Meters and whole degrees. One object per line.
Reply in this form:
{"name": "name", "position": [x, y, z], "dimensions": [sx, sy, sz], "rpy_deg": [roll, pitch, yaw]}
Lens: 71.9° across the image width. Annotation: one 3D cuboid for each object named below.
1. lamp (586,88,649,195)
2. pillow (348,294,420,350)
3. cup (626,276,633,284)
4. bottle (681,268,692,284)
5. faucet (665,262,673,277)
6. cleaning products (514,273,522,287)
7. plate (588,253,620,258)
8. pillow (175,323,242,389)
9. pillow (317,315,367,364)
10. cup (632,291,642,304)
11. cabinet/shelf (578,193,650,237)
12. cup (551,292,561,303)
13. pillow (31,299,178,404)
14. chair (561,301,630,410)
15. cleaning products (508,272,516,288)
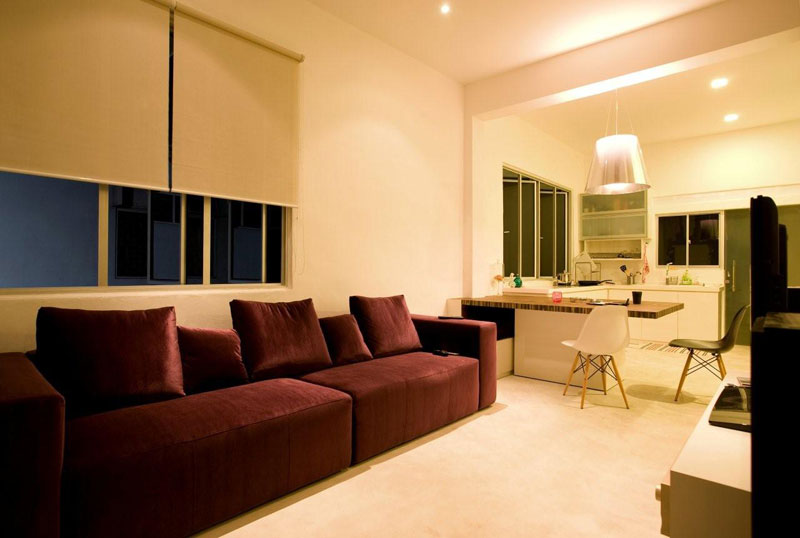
{"name": "lamp", "position": [2.249, -1.093, 5.704], "dimensions": [0.584, 0.574, 0.434], "rpy_deg": [1, 2, 20]}
{"name": "pillow", "position": [-0.081, 0.529, 5.285], "dimensions": [0.571, 0.584, 0.227], "rpy_deg": [2, -31, -41]}
{"name": "cup", "position": [3.933, 0.187, 9.441], "dimensions": [0.112, 0.135, 0.116], "rpy_deg": [-1, 1, 0]}
{"name": "bottle", "position": [4.596, 0.120, 8.827], "dimensions": [0.154, 0.242, 0.266], "rpy_deg": [1, 2, 23]}
{"name": "faucet", "position": [4.454, 0.003, 9.130], "dimensions": [0.101, 0.245, 0.087], "rpy_deg": [1, 2, 26]}
{"name": "cleaning products", "position": [1.682, 0.162, 7.682], "dimensions": [0.150, 0.223, 0.157], "rpy_deg": [-4, 0, 3]}
{"name": "plate", "position": [3.725, -0.250, 9.986], "dimensions": [0.183, 0.102, 0.645], "rpy_deg": [-1, 2, -31]}
{"name": "pillow", "position": [-1.450, 0.675, 4.157], "dimensions": [0.200, 0.371, 0.378], "rpy_deg": [-34, -31, 34]}
{"name": "pillow", "position": [-0.526, 0.642, 4.963], "dimensions": [0.426, 0.399, 0.125], "rpy_deg": [-5, -26, -49]}
{"name": "cup", "position": [2.554, 0.305, 5.925], "dimensions": [0.123, 0.146, 0.128], "rpy_deg": [-1, -1, 0]}
{"name": "cabinet/shelf", "position": [3.738, -0.941, 9.674], "dimensions": [0.228, 0.801, 1.198], "rpy_deg": [-2, 2, -38]}
{"name": "cup", "position": [1.773, 0.316, 6.233], "dimensions": [0.093, 0.102, 0.103], "rpy_deg": [-2, -1, 9]}
{"name": "pillow", "position": [-2.005, 0.583, 3.729], "dimensions": [0.608, 0.531, 0.275], "rpy_deg": [3, -13, -37]}
{"name": "chair", "position": [2.011, 0.837, 5.656], "dimensions": [0.643, 1.016, 0.848], "rpy_deg": [1, 2, 19]}
{"name": "cleaning products", "position": [1.606, 0.160, 7.847], "dimensions": [0.112, 0.192, 0.183], "rpy_deg": [2, -7, -11]}
